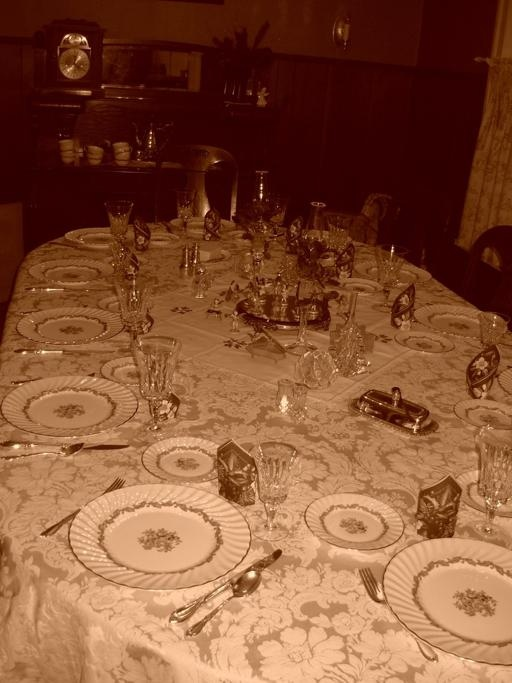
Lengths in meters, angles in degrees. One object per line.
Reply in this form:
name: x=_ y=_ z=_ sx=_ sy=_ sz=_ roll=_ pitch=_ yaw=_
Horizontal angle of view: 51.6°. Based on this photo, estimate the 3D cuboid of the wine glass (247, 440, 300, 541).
wine glass: x=0.031 y=0.276 z=1.025 sx=0.076 sy=0.168 sz=0.143 roll=6 pitch=17 yaw=1

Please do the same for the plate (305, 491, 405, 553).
plate: x=0.183 y=0.349 z=1.009 sx=0.183 sy=0.026 sz=0.163 roll=8 pitch=17 yaw=9

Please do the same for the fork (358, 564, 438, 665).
fork: x=0.218 y=0.415 z=0.838 sx=0.027 sy=0.025 sz=0.211 roll=-5 pitch=23 yaw=-12

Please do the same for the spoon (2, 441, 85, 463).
spoon: x=-0.488 y=0.258 z=1.223 sx=0.172 sy=0.018 sz=0.055 roll=-1 pitch=23 yaw=-13

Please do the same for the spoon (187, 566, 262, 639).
spoon: x=-0.043 y=0.411 z=0.858 sx=0.035 sy=0.028 sz=0.208 roll=19 pitch=18 yaw=20

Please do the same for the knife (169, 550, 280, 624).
knife: x=-0.054 y=0.394 z=0.834 sx=0.221 sy=0.018 sz=0.026 roll=-14 pitch=42 yaw=-45

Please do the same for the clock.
clock: x=-1.510 y=-2.488 z=4.679 sx=0.625 sy=0.708 sz=0.579 roll=-5 pitch=30 yaw=-16
